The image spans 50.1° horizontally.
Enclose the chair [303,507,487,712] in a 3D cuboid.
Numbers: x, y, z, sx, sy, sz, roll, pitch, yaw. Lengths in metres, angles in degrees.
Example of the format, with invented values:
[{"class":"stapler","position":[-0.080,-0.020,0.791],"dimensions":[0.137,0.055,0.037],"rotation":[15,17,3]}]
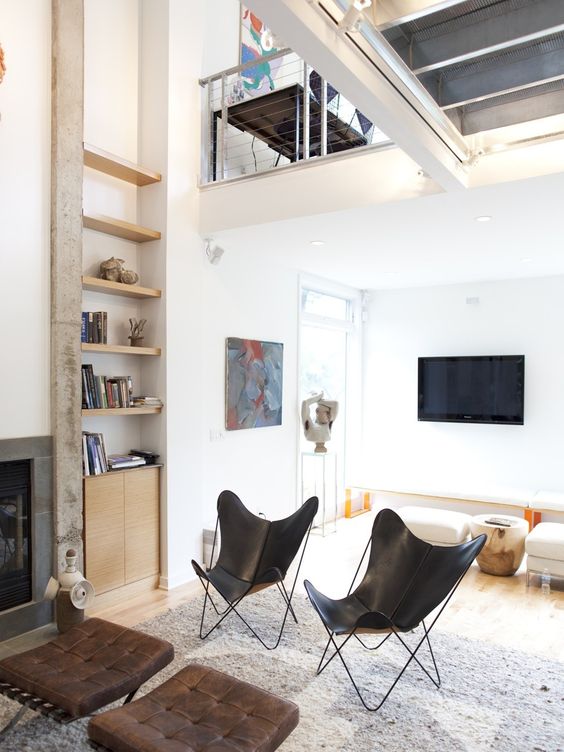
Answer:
[{"class":"chair","position":[0.514,1.042,3.060],"dimensions":[0.768,0.894,0.852],"rotation":[1,3,-33]}]

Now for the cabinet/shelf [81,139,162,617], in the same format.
[{"class":"cabinet/shelf","position":[-1.053,0.021,3.984],"dimensions":[0.466,2.122,0.677],"rotation":[0,-1,32]}]
